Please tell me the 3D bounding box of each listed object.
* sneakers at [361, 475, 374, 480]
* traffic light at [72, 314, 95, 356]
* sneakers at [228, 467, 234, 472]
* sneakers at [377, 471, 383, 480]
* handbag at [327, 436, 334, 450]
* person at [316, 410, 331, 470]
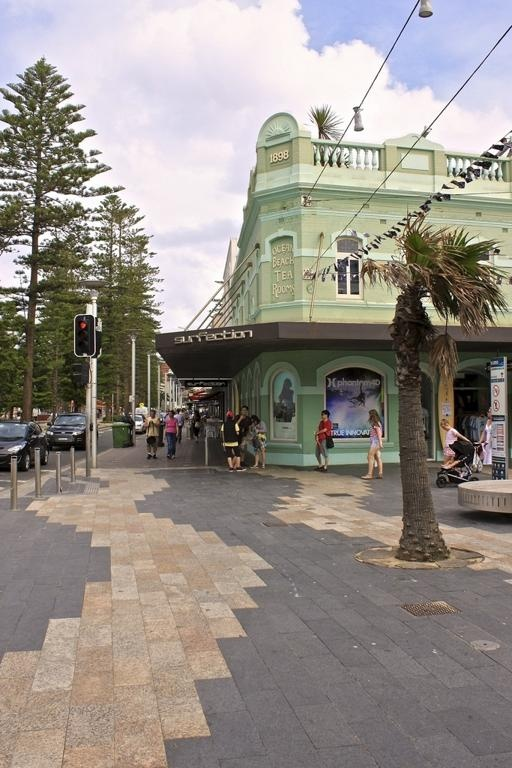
[{"bbox_3d":[2.713,2.307,15.254,0.120,0.136,0.324,-12,-13,44],"label":"sneakers"},{"bbox_3d":[-4.092,-1.171,14.878,0.498,1.054,0.396,1,-2,-24],"label":"traffic light"},{"bbox_3d":[-0.724,2.432,17.520,0.119,0.146,0.333,0,-12,-1],"label":"sneakers"},{"bbox_3d":[3.028,2.265,15.281,0.082,0.176,0.252,2,0,-8],"label":"sneakers"},{"bbox_3d":[1.914,1.544,16.410,0.142,0.284,0.217,1,-2,-8],"label":"handbag"},{"bbox_3d":[1.807,1.546,16.866,0.412,1.639,1.592,0,-2,5],"label":"person"}]
